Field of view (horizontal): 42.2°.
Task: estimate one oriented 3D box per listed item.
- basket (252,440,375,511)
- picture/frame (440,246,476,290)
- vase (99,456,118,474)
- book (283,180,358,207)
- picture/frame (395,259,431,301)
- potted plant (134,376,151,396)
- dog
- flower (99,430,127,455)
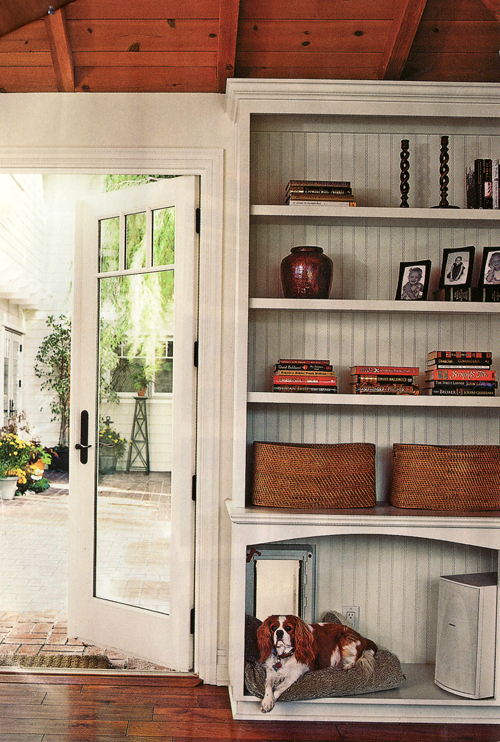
[{"bbox_3d":[0.249,0.403,2.520,0.476,0.256,0.193,1,-6,6],"label":"basket"},{"bbox_3d":[0.845,-0.418,2.636,0.167,0.251,0.031,3,-8,36],"label":"picture/frame"},{"bbox_3d":[-0.639,0.412,2.929,0.082,0.099,0.074,-1,-5,11],"label":"vase"},{"bbox_3d":[0.276,-0.697,2.543,0.264,0.123,0.064,2,-6,-1],"label":"book"},{"bbox_3d":[0.666,-0.369,2.636,0.162,0.246,0.018,5,-15,19],"label":"picture/frame"},{"bbox_3d":[-0.474,0.068,2.845,0.071,0.083,0.076,1,-9,-4],"label":"potted plant"},{"bbox_3d":[0.243,0.992,2.380,0.459,0.215,0.227,-10,-2,-32],"label":"dog"},{"bbox_3d":[-0.617,0.313,2.904,0.119,0.067,0.088,32,5,-26],"label":"flower"}]
